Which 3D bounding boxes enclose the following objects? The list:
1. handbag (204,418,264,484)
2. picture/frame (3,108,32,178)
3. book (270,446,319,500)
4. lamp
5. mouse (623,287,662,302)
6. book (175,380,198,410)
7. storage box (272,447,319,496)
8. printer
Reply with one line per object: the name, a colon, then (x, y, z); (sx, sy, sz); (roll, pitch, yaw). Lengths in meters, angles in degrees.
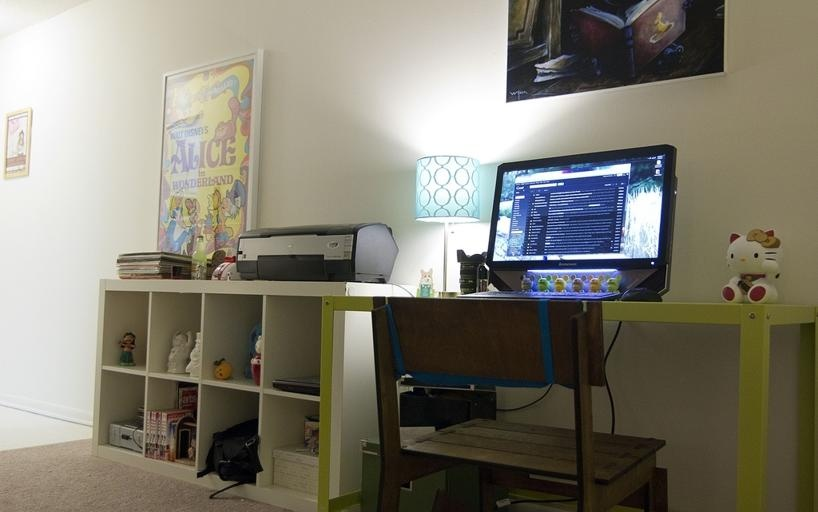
handbag: (-0.923, 1.019, 3.176); (0.305, 0.280, 0.272); (0, -3, -27)
picture/frame: (-3.316, -0.948, 5.046); (0.440, 0.584, 0.083); (4, 1, 39)
book: (-0.576, 1.103, 3.038); (0.216, 0.128, 0.214); (5, -1, 14)
lamp: (0.199, -0.171, 3.141); (0.321, 0.630, 0.235); (3, 1, 18)
mouse: (0.942, 0.161, 2.406); (0.114, 0.036, 0.079); (6, -7, -6)
book: (-1.307, 0.830, 3.511); (0.185, 0.178, 0.043); (6, -5, -9)
storage box: (-0.568, 1.097, 3.051); (0.215, 0.134, 0.211); (4, 1, 35)
printer: (-0.531, -0.023, 3.216); (0.865, 0.260, 0.282); (3, 1, 16)
